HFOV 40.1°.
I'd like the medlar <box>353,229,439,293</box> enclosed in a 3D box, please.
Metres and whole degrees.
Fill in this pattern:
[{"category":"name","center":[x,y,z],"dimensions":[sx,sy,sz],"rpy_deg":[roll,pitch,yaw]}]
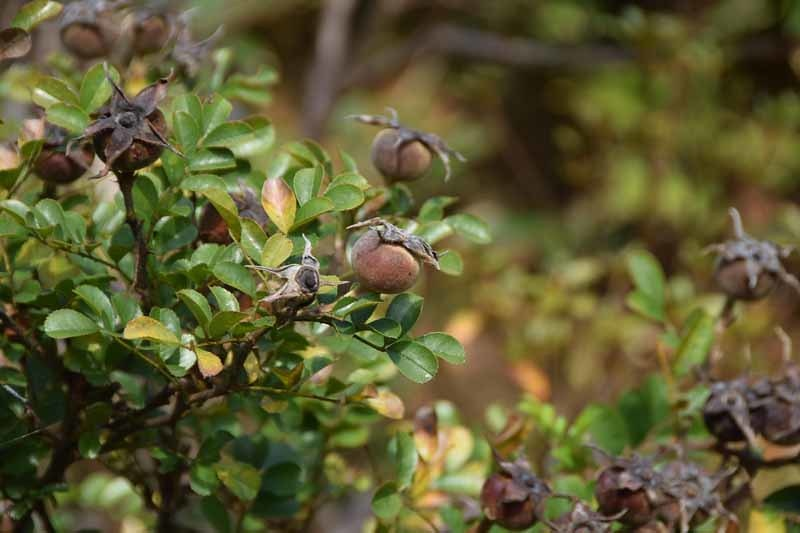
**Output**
[{"category":"medlar","center":[-0.031,-0.003,2.274],"dimensions":[0.132,0.108,0.136],"rpy_deg":[13,-16,-2]}]

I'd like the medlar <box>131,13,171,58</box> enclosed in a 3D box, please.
[{"category":"medlar","center":[-0.653,-0.607,2.877],"dimensions":[0.096,0.082,0.041],"rpy_deg":[16,6,-10]}]

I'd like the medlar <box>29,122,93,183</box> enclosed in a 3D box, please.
[{"category":"medlar","center":[-0.756,-0.232,2.474],"dimensions":[0.110,0.147,0.137],"rpy_deg":[9,-28,-24]}]

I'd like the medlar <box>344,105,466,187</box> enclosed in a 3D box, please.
[{"category":"medlar","center":[0.008,-0.280,2.456],"dimensions":[0.191,0.127,0.194],"rpy_deg":[24,7,-24]}]
